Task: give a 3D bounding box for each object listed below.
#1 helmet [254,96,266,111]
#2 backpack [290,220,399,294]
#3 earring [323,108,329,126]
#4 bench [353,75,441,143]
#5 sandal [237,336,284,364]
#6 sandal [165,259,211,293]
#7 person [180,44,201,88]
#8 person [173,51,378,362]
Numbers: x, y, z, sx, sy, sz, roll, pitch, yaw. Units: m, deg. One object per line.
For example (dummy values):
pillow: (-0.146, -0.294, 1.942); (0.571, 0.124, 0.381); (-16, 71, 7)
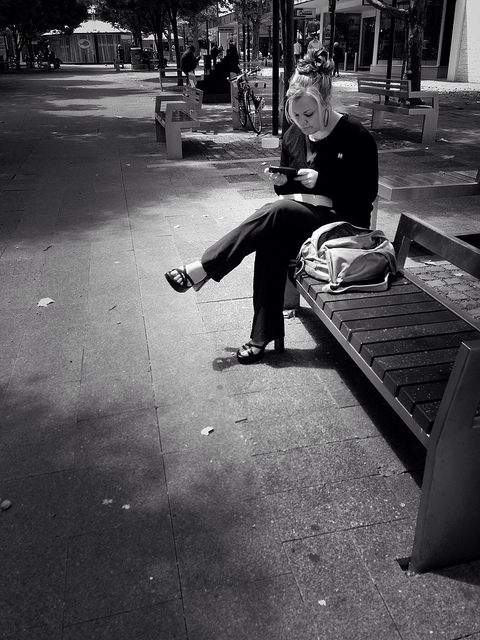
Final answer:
helmet: (0.450, -5.168, 12.015); (0.216, 0.271, 0.594); (-3, 26, -2)
backpack: (0.606, -0.303, 2.722); (0.406, 0.201, 0.412); (-11, 37, -20)
earring: (0.457, -1.089, 2.683); (0.035, 0.083, 0.011); (4, 12, -2)
bench: (3.541, -4.905, 11.546); (0.734, 1.358, 2.325); (-14, 29, -12)
sandal: (0.107, 0.179, 3.104); (0.320, 0.157, 0.136); (-13, 36, -3)
sandal: (-0.304, -0.247, 2.958); (0.245, 0.178, 0.253); (1, 22, -12)
person: (-1.993, -10.078, 19.978); (0.747, 1.613, 0.599); (-9, 18, -39)
person: (0.207, -0.618, 2.925); (1.096, 1.742, 0.644); (-12, 31, -24)
